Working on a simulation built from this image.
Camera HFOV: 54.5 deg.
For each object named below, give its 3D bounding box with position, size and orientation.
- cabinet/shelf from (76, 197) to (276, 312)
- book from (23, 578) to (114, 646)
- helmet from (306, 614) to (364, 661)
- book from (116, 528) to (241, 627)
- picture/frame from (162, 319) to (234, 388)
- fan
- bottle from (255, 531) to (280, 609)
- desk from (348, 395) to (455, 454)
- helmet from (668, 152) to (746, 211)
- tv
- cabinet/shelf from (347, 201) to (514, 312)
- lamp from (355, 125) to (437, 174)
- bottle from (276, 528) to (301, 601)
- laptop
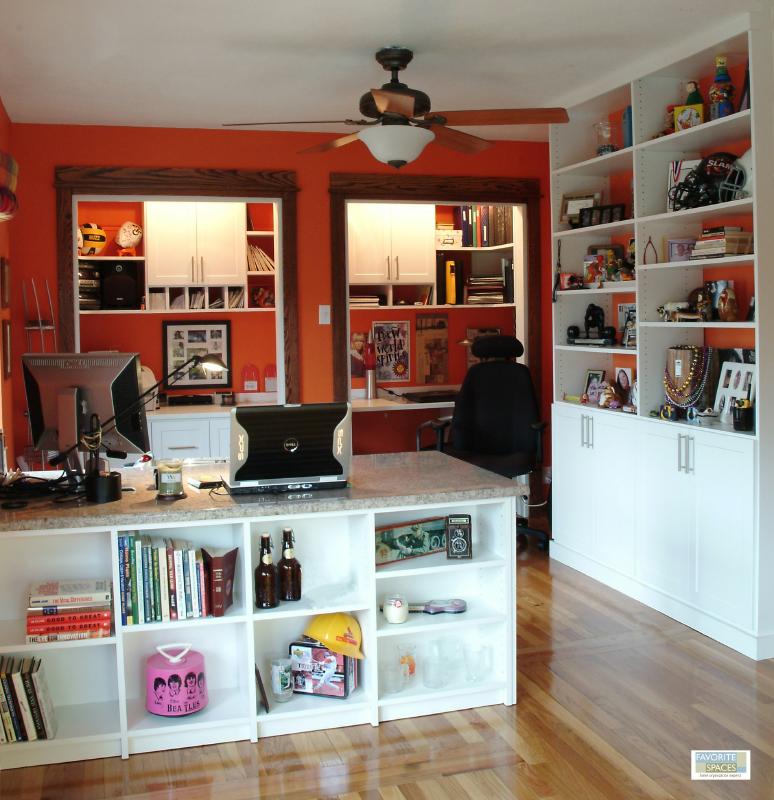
[{"bbox_3d":[-1.540,-1.099,5.661,1.605,0.806,0.275,2,6,11],"label":"cabinet/shelf"},{"bbox_3d":[-0.999,0.667,2.364,0.208,0.113,0.200,1,1,-26],"label":"book"},{"bbox_3d":[-0.172,0.811,2.669,0.199,0.102,0.157,15,-9,47],"label":"helmet"},{"bbox_3d":[-0.708,0.539,2.557,0.441,0.372,0.286,2,-5,-23],"label":"book"},{"bbox_3d":[-1.365,-0.353,5.305,0.634,0.587,0.024,-1,-9,-8],"label":"picture/frame"},{"bbox_3d":[0.141,-1.129,3.025,0.952,0.297,0.904,2,4,16],"label":"fan"},{"bbox_3d":[-0.416,0.566,2.578,0.084,0.258,0.185,-2,5,-9],"label":"bottle"},{"bbox_3d":[0.099,0.234,5.880,0.932,0.485,0.466,-2,5,-29],"label":"desk"},{"bbox_3d":[1.440,-0.992,3.387,0.375,0.253,0.259,-15,23,-17],"label":"helmet"},{"bbox_3d":[-1.112,0.019,2.712,0.492,0.362,0.180,0,7,10],"label":"tv"},{"bbox_3d":[0.369,-1.145,6.065,1.407,0.700,0.383,-1,4,-2],"label":"cabinet/shelf"},{"bbox_3d":[0.038,-1.060,3.069,0.314,0.156,0.217,-1,5,3],"label":"lamp"},{"bbox_3d":[-0.339,0.561,2.586,0.075,0.261,0.113,-2,4,-9],"label":"bottle"},{"bbox_3d":[-0.326,0.151,2.539,0.404,0.275,0.116,-2,4,-11],"label":"laptop"}]
